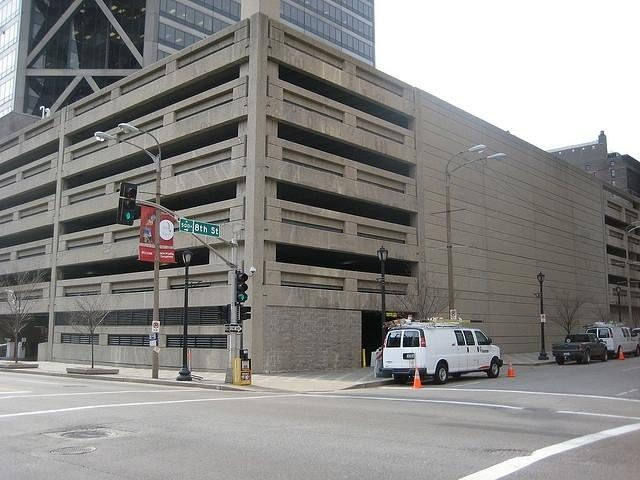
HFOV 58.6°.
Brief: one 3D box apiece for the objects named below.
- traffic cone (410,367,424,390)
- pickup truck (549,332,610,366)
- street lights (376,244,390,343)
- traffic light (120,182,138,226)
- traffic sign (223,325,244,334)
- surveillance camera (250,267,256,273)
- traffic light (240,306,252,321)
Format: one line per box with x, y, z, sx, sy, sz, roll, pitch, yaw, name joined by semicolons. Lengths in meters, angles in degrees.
4.158;5.867;24.239;0.766;1.027;0.759;-4;-5;20;traffic cone
17.077;7.097;37.359;4.515;1.834;2.388;7;-13;-43;pickup truck
3.308;2.997;30.600;0.765;5.418;0.764;0;3;-2;street lights
-7.401;-1.465;21.770;0.558;1.832;0.875;3;-15;-14;traffic light
-3.972;4.051;26.050;0.739;0.401;0.557;3;-15;-13;traffic sign
-3.704;1.614;31.134;0.307;0.237;0.546;1;-16;-5;surveillance camera
-3.438;3.340;26.112;0.468;0.580;0.714;-1;-15;1;traffic light
